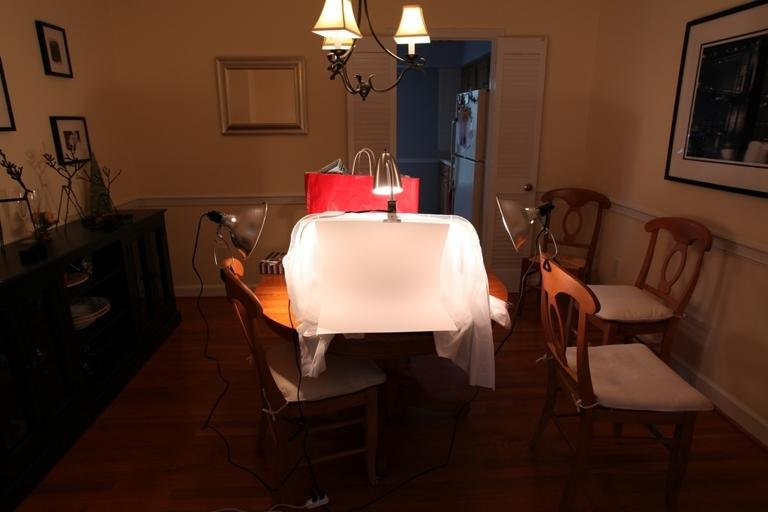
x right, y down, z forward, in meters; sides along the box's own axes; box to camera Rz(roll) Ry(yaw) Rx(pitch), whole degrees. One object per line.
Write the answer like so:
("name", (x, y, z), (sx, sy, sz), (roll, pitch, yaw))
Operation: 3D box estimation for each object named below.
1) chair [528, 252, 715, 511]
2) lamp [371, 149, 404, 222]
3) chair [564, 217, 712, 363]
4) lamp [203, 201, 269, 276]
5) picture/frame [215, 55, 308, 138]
("chair", (1.543, 0.837, 3.428), (0.938, 1.634, 0.950), (-5, 17, -1))
("lamp", (0.019, -0.442, 3.218), (0.161, 0.422, 0.415), (-2, 19, 0))
("chair", (1.875, 0.263, 3.902), (0.711, 1.325, 0.724), (-1, 18, -5))
("lamp", (-1.165, -0.156, 4.176), (0.312, 0.525, 0.414), (7, 53, -29))
("picture/frame", (-1.130, -1.483, 4.934), (0.654, 0.592, 0.051), (-1, 19, -2))
